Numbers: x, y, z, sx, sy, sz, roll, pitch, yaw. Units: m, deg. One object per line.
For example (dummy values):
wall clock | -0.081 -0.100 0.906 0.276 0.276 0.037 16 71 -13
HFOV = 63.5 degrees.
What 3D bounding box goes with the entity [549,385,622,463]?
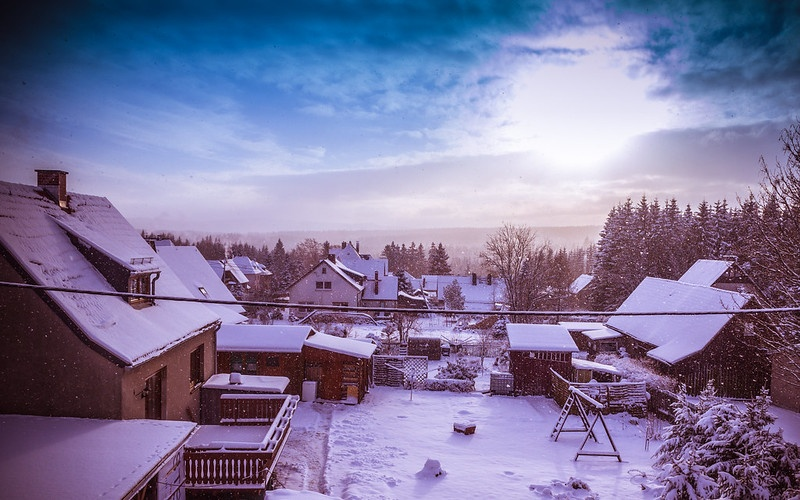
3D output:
entity | 9.999 9.198 35.047 2.611 2.937 5.375 3 -1 0
